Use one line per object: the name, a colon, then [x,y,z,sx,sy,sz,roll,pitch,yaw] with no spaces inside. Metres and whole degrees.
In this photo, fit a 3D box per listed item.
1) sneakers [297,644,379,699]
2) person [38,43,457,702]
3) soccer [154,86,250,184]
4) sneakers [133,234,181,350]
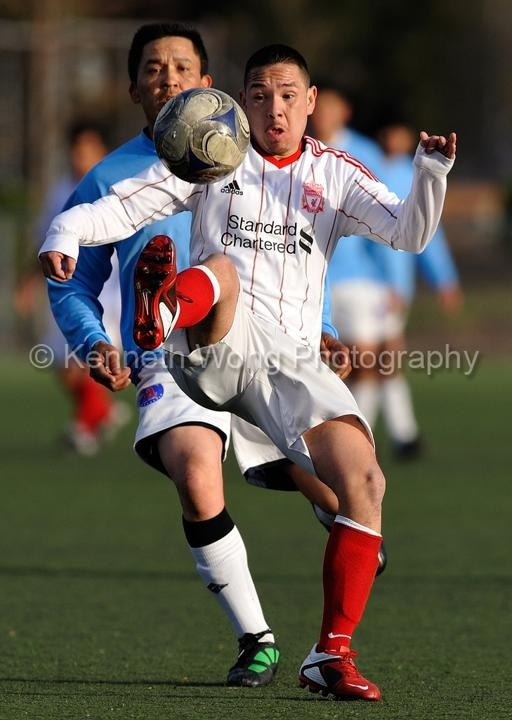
sneakers: [0.234,0.837,2.377,0.098,0.116,0.261,13,-8,-43]
person: [-0.030,-0.014,2.476,1.065,1.862,0.654,0,0,-12]
soccer: [-0.108,-0.603,2.466,0.263,0.255,0.257,20,13,-19]
sneakers: [-0.218,-0.173,2.302,0.109,0.285,0.128,5,-24,6]
